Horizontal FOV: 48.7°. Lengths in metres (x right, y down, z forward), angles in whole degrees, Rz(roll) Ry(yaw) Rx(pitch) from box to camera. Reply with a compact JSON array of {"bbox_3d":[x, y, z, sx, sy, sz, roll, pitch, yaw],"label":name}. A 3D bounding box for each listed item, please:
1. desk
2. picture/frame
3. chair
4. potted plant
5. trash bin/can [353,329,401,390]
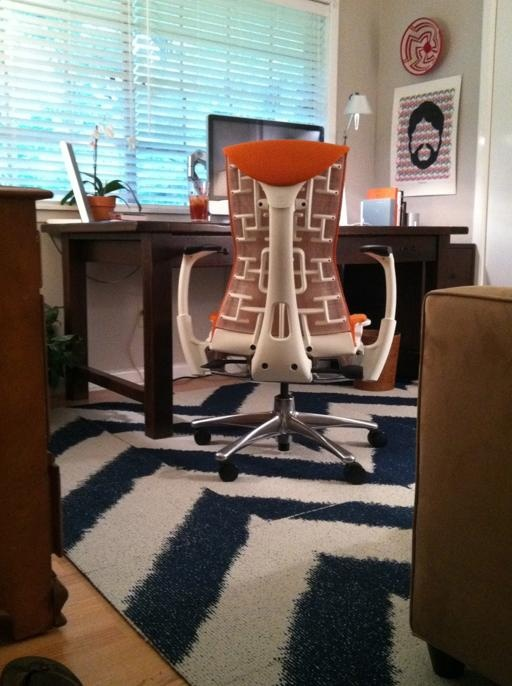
[{"bbox_3d":[-0.099,-0.037,2.016,0.953,0.438,0.477,-7,12,-37],"label":"desk"},{"bbox_3d":[1.022,-1.240,3.449,0.074,0.700,0.491,-5,8,-30],"label":"picture/frame"},{"bbox_3d":[0.085,-0.108,1.825,0.668,0.924,0.628,0,7,-5],"label":"chair"},{"bbox_3d":[-0.727,-0.668,2.576,0.360,0.176,0.289,2,10,30],"label":"potted plant"},{"bbox_3d":[0.636,0.098,2.770,0.265,0.324,0.315,0,6,0],"label":"trash bin/can"}]
